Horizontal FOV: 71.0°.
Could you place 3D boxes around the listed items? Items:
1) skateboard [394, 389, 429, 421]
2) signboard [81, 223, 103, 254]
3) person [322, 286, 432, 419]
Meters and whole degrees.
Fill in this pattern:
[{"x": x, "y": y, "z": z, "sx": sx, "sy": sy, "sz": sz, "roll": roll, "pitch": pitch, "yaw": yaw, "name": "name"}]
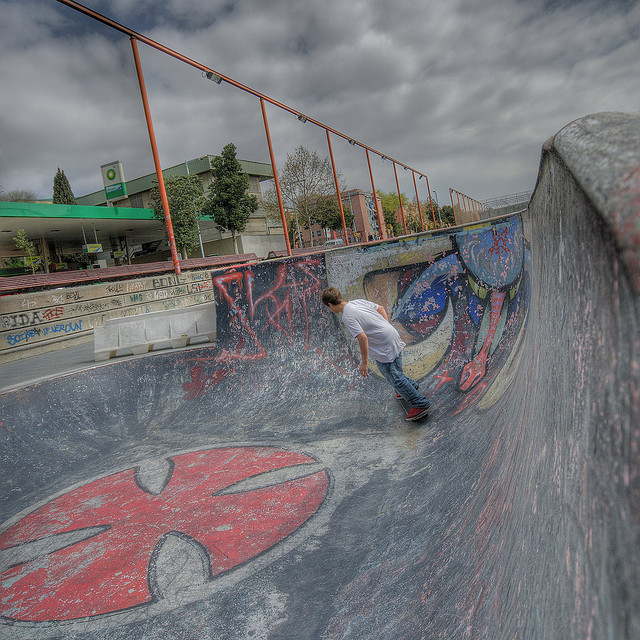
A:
[{"x": 0.691, "y": 0.760, "z": 3.983, "sx": 0.097, "sy": 0.291, "sz": 0.114, "roll": -49, "pitch": -35, "yaw": 20, "name": "skateboard"}, {"x": -14.191, "y": -4.972, "z": 28.321, "sx": 0.858, "sy": 1.216, "sz": 6.110, "roll": -13, "pitch": 8, "yaw": -25, "name": "signboard"}, {"x": 0.428, "y": 0.334, "z": 3.782, "sx": 0.565, "sy": 1.052, "sz": 0.312, "roll": -11, "pitch": 9, "yaw": -17, "name": "person"}]
